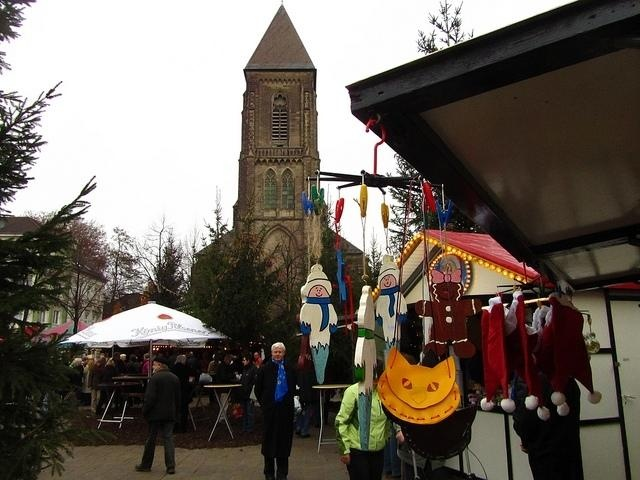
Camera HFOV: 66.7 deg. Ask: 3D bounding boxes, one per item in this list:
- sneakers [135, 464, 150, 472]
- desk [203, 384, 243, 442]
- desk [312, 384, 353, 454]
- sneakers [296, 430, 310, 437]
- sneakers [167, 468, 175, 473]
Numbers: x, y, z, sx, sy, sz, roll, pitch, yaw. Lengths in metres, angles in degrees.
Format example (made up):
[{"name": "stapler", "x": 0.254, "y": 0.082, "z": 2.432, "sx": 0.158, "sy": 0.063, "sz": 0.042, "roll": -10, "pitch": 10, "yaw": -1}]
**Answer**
[{"name": "sneakers", "x": -3.215, "y": 4.140, "z": 8.846, "sx": 0.238, "sy": 0.124, "sz": 0.129, "roll": 11, "pitch": -10, "yaw": 22}, {"name": "desk", "x": -2.560, "y": 4.480, "z": 12.713, "sx": 1.006, "sy": 1.225, "sz": 0.989, "roll": -14, "pitch": -21, "yaw": 36}, {"name": "desk", "x": 0.028, "y": 4.234, "z": 11.575, "sx": 1.105, "sy": 1.346, "sz": 1.207, "roll": 2, "pitch": -23, "yaw": 5}, {"name": "sneakers", "x": -0.452, "y": 4.966, "z": 12.455, "sx": 0.362, "sy": 0.284, "sz": 0.130, "roll": 1, "pitch": -5, "yaw": -4}, {"name": "sneakers", "x": -2.674, "y": 4.118, "z": 8.714, "sx": 0.111, "sy": 0.098, "sz": 0.135, "roll": 1, "pitch": -6, "yaw": -16}]
